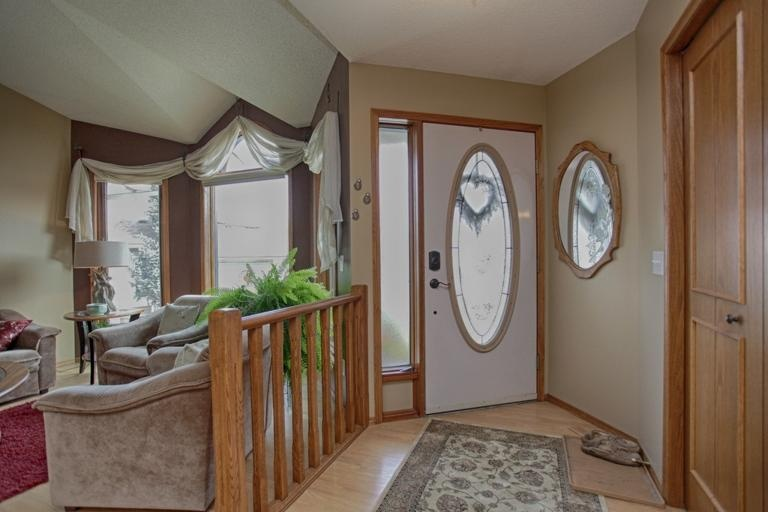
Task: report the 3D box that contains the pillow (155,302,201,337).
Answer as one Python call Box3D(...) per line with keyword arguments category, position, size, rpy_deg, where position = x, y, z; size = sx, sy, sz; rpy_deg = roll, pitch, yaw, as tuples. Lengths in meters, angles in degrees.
Box3D(category="pillow", position=(-2.060, 0.627, 5.410), size=(0.347, 0.362, 0.111), rpy_deg=(3, -24, 12))

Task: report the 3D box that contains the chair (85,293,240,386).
Box3D(category="chair", position=(-2.244, 0.925, 5.415), size=(1.005, 1.063, 1.149), rpy_deg=(3, -2, 2))

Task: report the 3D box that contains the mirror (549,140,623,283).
Box3D(category="mirror", position=(1.698, -0.389, 4.572), size=(0.068, 1.134, 0.667), rpy_deg=(-3, 2, -30))

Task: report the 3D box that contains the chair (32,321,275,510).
Box3D(category="chair", position=(-1.700, 1.148, 3.860), size=(1.019, 0.815, 1.080), rpy_deg=(0, -5, 9))
